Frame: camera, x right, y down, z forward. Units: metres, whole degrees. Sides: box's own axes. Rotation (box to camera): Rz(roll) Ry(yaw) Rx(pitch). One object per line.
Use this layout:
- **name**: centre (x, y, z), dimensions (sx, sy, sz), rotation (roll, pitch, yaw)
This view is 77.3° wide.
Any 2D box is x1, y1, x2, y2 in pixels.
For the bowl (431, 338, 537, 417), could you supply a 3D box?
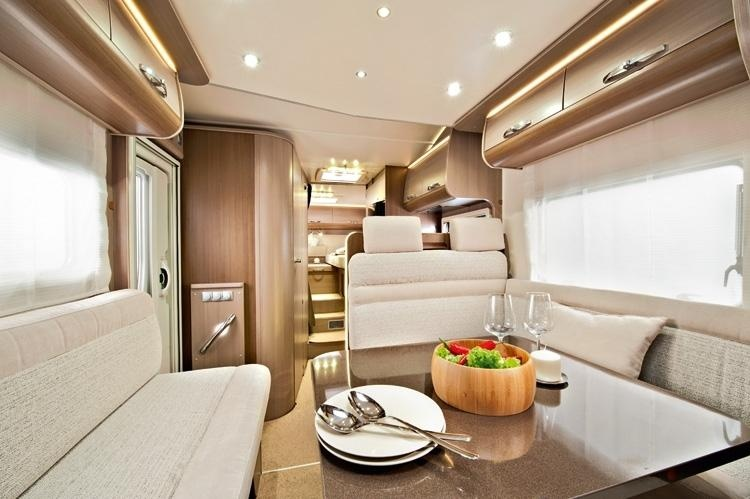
- **bowl**: centre (0.566, 0.689, 2.408), dimensions (0.468, 0.205, 0.481), rotation (5, -6, 0)

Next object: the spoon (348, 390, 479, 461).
- **spoon**: centre (0.177, 0.807, 2.131), dimensions (0.621, 0.094, 0.116), rotation (17, 9, 38)

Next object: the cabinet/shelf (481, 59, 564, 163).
- **cabinet/shelf**: centre (1.048, -0.928, 3.439), dimensions (0.150, 0.509, 0.815), rotation (1, 1, -16)

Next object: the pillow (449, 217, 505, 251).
- **pillow**: centre (0.820, -0.116, 3.764), dimensions (0.384, 0.276, 0.282), rotation (1, 1, -5)

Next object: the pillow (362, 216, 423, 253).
- **pillow**: centre (0.127, -0.116, 3.549), dimensions (0.399, 0.289, 0.082), rotation (-3, 3, -16)

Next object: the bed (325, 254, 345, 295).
- **bed**: centre (-0.471, 0.309, 5.682), dimensions (0.186, 0.523, 1.187), rotation (1, 0, -6)
